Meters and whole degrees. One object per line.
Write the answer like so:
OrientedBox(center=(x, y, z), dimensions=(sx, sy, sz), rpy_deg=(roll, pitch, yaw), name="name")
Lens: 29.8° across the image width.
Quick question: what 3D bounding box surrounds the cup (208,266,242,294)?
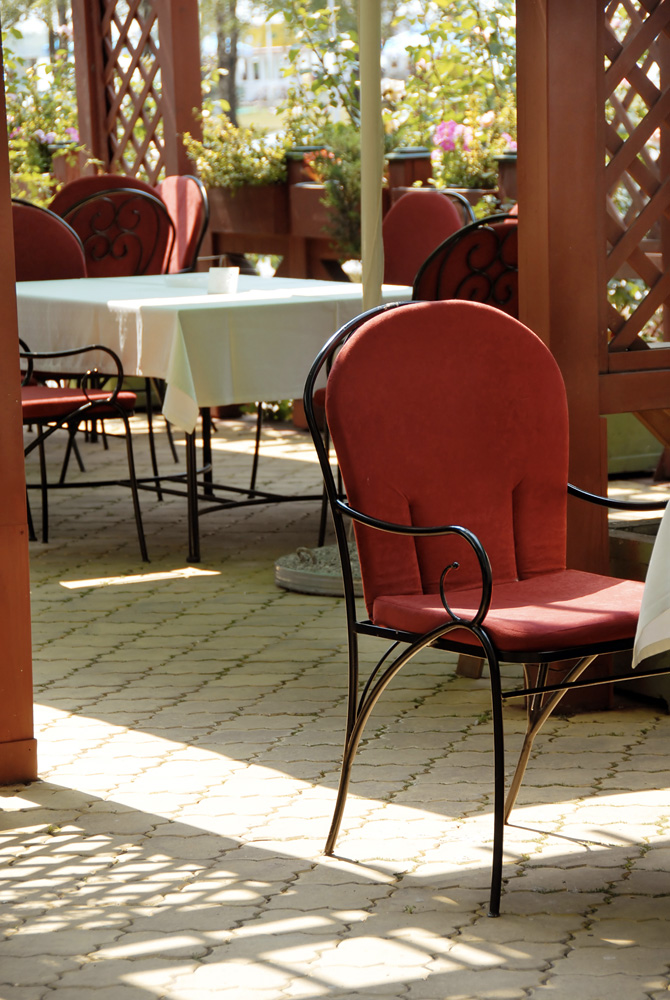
OrientedBox(center=(-0.369, -0.748, 4.315), dimensions=(0.109, 0.095, 0.101), rpy_deg=(1, -8, 0), name="cup")
